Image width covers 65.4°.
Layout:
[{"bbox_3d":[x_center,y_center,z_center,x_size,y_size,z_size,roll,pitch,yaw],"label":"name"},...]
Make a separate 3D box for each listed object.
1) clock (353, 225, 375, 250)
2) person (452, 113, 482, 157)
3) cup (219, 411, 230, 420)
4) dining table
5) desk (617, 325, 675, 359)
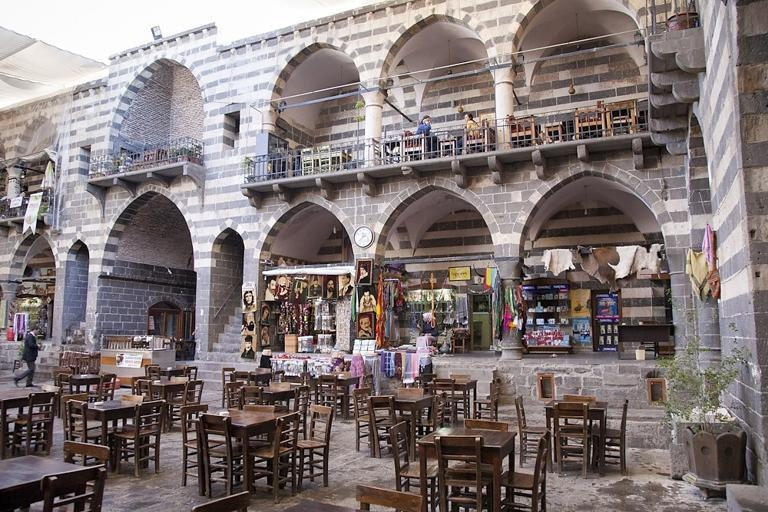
[{"bbox_3d":[-0.629,-0.619,19.079,0.718,0.708,0.073,-5,-16,33],"label":"clock"},{"bbox_3d":[2.557,-3.856,18.462,0.666,1.138,0.673,-5,10,28],"label":"person"},{"bbox_3d":[-2.758,2.719,10.360,0.175,0.131,0.176,1,-3,0],"label":"cup"},{"bbox_3d":[3.806,3.424,11.823,1.054,1.288,1.719,0,-3,20],"label":"dining table"},{"bbox_3d":[7.038,2.067,16.171,1.349,0.847,1.371,-1,-4,23],"label":"desk"}]
